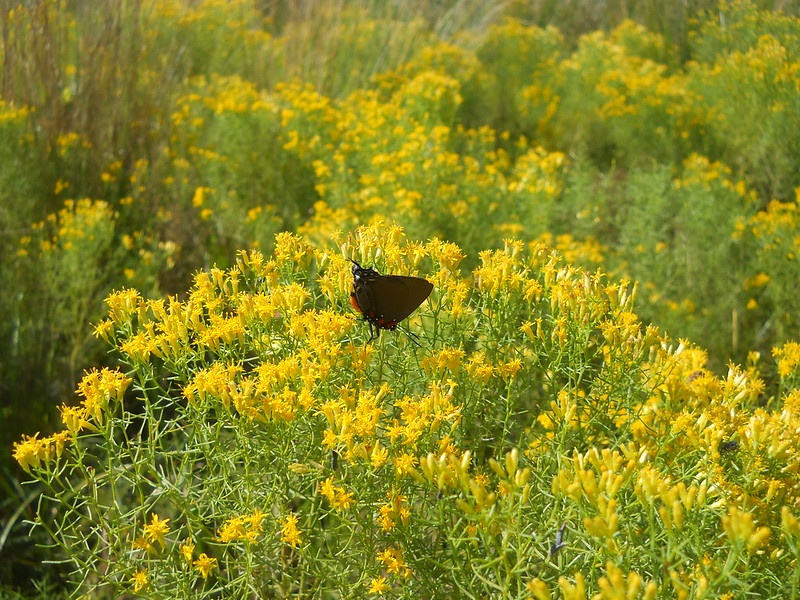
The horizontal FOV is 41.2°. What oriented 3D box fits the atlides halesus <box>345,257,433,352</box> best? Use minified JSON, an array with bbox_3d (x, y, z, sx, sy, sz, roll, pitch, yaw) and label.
[{"bbox_3d":[-0.044,-0.019,3.554,0.298,0.304,0.355,-6,9,3],"label":"atlides halesus"}]
